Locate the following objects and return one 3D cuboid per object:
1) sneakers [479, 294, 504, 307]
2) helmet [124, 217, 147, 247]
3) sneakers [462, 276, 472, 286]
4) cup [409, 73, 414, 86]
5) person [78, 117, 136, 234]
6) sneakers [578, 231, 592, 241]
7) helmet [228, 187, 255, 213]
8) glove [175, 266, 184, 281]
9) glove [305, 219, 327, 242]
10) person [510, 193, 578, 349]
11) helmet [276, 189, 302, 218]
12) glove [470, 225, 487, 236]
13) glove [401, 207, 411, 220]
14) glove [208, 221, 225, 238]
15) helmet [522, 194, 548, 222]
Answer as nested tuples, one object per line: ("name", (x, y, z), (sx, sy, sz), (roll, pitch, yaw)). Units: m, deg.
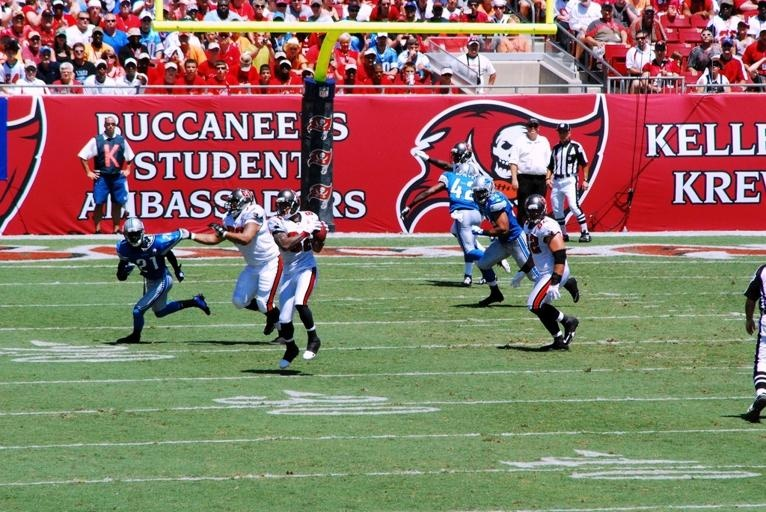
("sneakers", (1.652, 0.669, 24.079), (0.478, 0.171, 0.145), (-5, 12, 6))
("helmet", (-3.485, -0.331, 21.727), (0.286, 0.385, 0.314), (-2, 4, -10))
("sneakers", (1.325, 0.397, 25.286), (0.173, 0.159, 0.417), (-1, -3, 4))
("cup", (0.514, -3.366, 30.156), (0.107, 0.088, 0.275), (1, 38, -2))
("person", (-5.058, -1.468, 28.595), (0.883, 2.062, 0.906), (-1, 4, -3))
("sneakers", (3.680, -0.344, 28.863), (0.146, 0.131, 0.220), (-2, -5, 22))
("helmet", (-1.993, -0.766, 21.693), (0.379, 0.260, 0.285), (0, 1, -22))
("glove", (-2.927, 0.240, 22.302), (0.137, 0.193, 0.093), (-27, 32, -12))
("glove", (-0.893, -0.330, 20.874), (0.198, 0.267, 0.195), (-1, 4, 4))
("person", (2.350, 0.264, 22.014), (0.985, 2.125, 1.223), (4, 1, -13))
("helmet", (-1.344, -0.689, 20.942), (0.354, 0.297, 0.377), (-2, -4, 15))
("glove", (1.467, -0.405, 24.719), (0.205, 0.139, 0.505), (-21, 2, 2))
("glove", (0.372, -0.762, 27.749), (0.098, 0.258, 0.117), (4, 49, -13))
("glove", (-2.290, -0.338, 21.554), (0.201, 0.208, 0.728), (-1, 4, -5))
("helmet", (2.108, -0.660, 21.839), (0.277, 0.370, 0.334), (-1, 4, 3))
